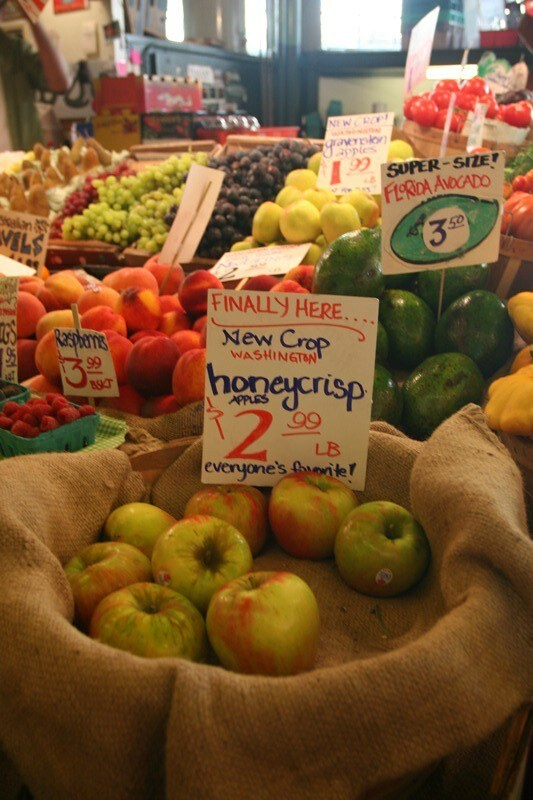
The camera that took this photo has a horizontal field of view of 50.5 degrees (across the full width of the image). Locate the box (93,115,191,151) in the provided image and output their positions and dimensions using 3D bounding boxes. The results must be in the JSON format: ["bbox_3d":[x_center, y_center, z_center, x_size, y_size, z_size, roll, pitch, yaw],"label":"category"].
[{"bbox_3d":[-1.350,-2.777,5.827,0.736,0.357,1.013,-1,28,-9],"label":"box"}]

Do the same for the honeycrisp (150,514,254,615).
[{"bbox_3d":[-0.119,0.267,1.024,0.142,0.142,0.149,35,42,22],"label":"honeycrisp"}]

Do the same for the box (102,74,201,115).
[{"bbox_3d":[-1.255,-3.271,6.076,0.749,0.306,0.837,9,33,4],"label":"box"}]

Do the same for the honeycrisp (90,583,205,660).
[{"bbox_3d":[-0.174,0.308,0.862,0.123,0.134,0.127,1,4,-23],"label":"honeycrisp"}]

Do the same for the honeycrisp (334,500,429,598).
[{"bbox_3d":[0.210,0.277,1.084,0.155,0.166,0.162,23,47,26],"label":"honeycrisp"}]

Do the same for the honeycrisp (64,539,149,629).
[{"bbox_3d":[-0.281,0.299,0.975,0.120,0.130,0.129,11,26,24],"label":"honeycrisp"}]

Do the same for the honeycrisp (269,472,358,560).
[{"bbox_3d":[0.094,0.201,1.170,0.155,0.165,0.160,14,5,5],"label":"honeycrisp"}]

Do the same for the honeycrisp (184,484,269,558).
[{"bbox_3d":[-0.079,0.223,1.149,0.139,0.144,0.144,7,-3,-8],"label":"honeycrisp"}]

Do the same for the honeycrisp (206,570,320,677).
[{"bbox_3d":[-0.009,0.321,0.874,0.134,0.151,0.140,-12,2,-4],"label":"honeycrisp"}]
